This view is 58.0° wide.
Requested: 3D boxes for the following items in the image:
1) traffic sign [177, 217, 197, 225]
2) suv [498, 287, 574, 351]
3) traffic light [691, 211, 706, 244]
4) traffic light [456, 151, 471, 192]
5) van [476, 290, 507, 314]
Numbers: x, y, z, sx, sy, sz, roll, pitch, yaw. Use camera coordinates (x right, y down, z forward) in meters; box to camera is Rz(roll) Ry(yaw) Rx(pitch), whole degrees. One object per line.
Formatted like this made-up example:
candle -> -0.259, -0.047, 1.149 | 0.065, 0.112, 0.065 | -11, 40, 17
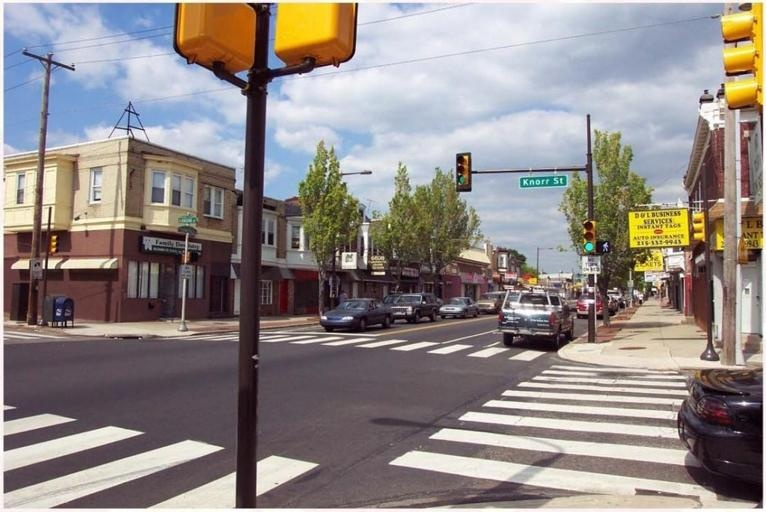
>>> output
traffic sign -> -8.874, -1.616, 31.098 | 0.533, 0.339, 0.528 | 1, 5, 9
suv -> 5.793, 2.344, 26.142 | 2.289, 2.132, 3.044 | -2, -3, 18
traffic light -> 9.723, -0.943, 21.099 | 0.358, 0.821, 0.581 | -2, -3, 26
traffic light -> 2.818, -2.932, 24.111 | 0.463, 1.304, 0.562 | -1, -3, 8
van -> 8.080, 3.395, 50.835 | 1.301, 1.005, 2.745 | -3, -6, 22
